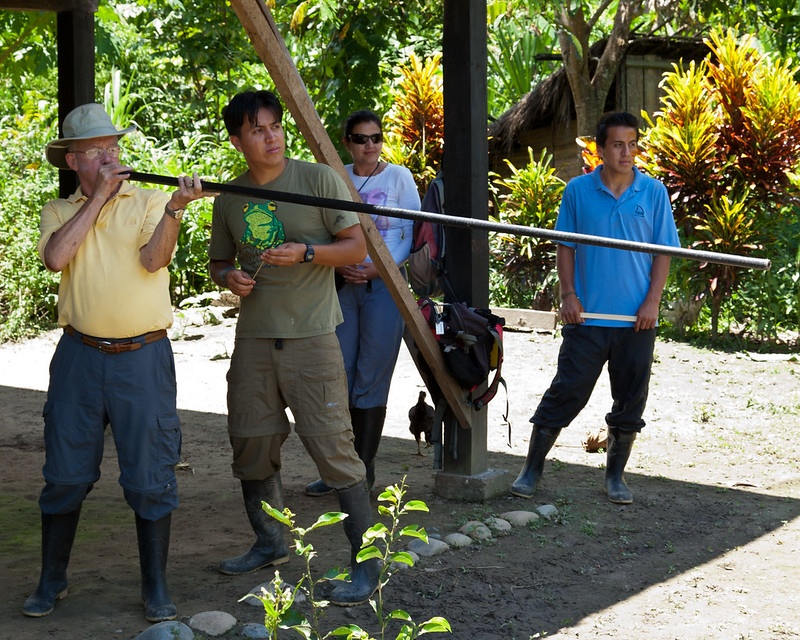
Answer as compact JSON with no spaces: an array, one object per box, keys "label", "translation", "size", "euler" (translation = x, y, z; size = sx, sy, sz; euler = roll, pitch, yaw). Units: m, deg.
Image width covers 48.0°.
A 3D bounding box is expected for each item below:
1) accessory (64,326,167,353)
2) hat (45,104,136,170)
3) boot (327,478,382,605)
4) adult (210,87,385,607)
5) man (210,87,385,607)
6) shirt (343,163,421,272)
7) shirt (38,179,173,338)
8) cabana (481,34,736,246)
[{"label":"accessory","translation":[-1.364,0.095,4.254],"size":[0.472,0.107,0.161],"euler":[0,10,-6]},{"label":"hat","translation":[-1.495,-0.910,4.291],"size":[0.460,0.184,0.410],"euler":[-13,6,35]},{"label":"boot","translation":[-0.232,1.089,4.433],"size":[0.260,0.576,0.276],"euler":[1,10,-2]},{"label":"adult","translation":[-0.555,0.114,4.516],"size":[1.117,2.449,0.549],"euler":[8,12,31]},{"label":"man","translation":[-0.556,0.114,4.516],"size":[1.118,2.449,0.549],"euler":[8,12,31]},{"label":"shirt","translation":[-0.117,-0.577,5.218],"size":[0.635,0.577,0.329],"euler":[8,13,19]},{"label":"shirt","translation":[-1.365,-0.286,4.249],"size":[0.517,0.713,0.289],"euler":[-1,11,-14]},{"label":"cabana","translation":[3.297,-3.296,14.051],"size":[2.386,1.255,4.493],"euler":[4,-14,-24]}]
